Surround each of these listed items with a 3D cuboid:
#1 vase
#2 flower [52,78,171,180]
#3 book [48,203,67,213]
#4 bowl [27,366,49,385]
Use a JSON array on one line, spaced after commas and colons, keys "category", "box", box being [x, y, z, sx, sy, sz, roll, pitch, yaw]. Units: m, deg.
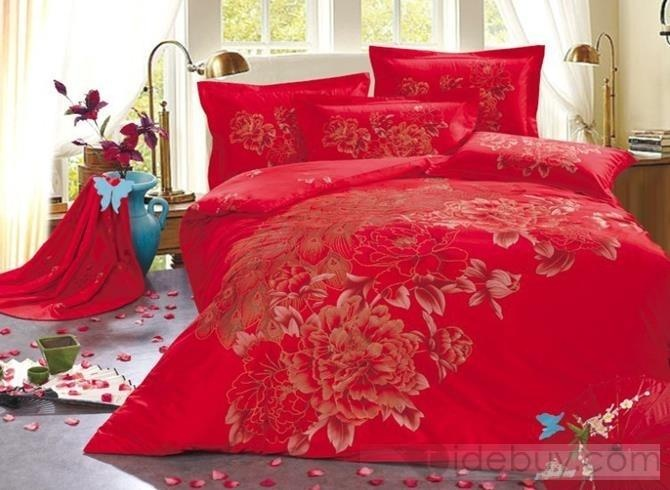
[{"category": "vase", "box": [-1.095, -0.113, 3.330, 0.347, 0.567, 0.398, -5, 12, -14]}, {"category": "flower", "box": [-1.289, -0.652, 3.412, 0.511, 0.517, 0.801, -8, 12, -27]}, {"category": "book", "box": [-1.690, -0.216, 3.670, 0.121, 0.044, 0.062, -2, 1, -44]}, {"category": "bowl", "box": [-1.105, 0.488, 2.232, 0.091, 0.050, 0.074, 0, 2, 21]}]
